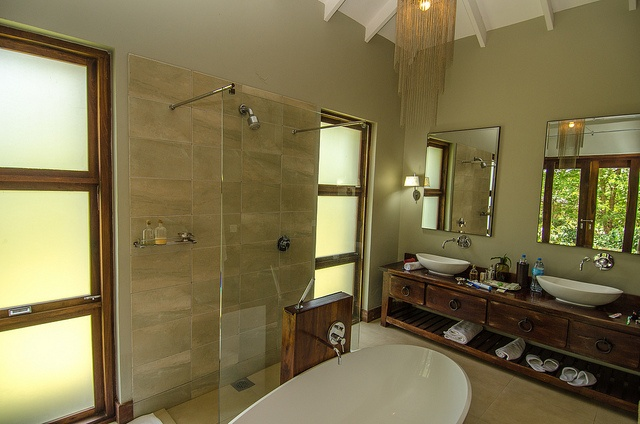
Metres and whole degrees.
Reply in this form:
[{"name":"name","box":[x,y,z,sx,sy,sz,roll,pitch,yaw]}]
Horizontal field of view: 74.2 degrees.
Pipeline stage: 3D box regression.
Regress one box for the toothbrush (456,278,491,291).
[{"name":"toothbrush","box":[1.751,0.807,4.928,0.114,0.104,0.426,3,6,-32]}]

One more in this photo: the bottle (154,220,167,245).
[{"name":"bottle","box":[-1.486,0.180,3.951,0.114,0.220,0.125,0,5,0]}]

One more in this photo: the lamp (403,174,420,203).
[{"name":"lamp","box":[1.238,-0.332,5.811,0.275,0.385,0.155,4,7,41]}]

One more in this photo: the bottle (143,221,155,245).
[{"name":"bottle","box":[-1.585,0.182,3.907,0.099,0.214,0.083,-2,5,-22]}]

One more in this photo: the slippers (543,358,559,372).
[{"name":"slippers","box":[2.451,1.620,4.507,0.108,0.025,0.141,-34,22,-19]}]

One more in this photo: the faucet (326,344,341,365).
[{"name":"faucet","box":[0.136,1.320,3.951,0.124,0.198,0.127,0,5,8]}]

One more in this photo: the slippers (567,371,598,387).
[{"name":"slippers","box":[2.676,1.708,4.328,0.238,0.085,0.136,-12,13,-9]}]

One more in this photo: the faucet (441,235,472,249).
[{"name":"faucet","box":[1.783,0.367,5.448,0.286,0.118,0.178,-6,8,16]}]

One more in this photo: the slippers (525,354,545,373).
[{"name":"slippers","box":[2.310,1.616,4.556,0.154,0.103,0.230,0,4,6]}]

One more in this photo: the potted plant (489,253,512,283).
[{"name":"potted plant","box":[2.176,0.652,5.091,0.342,0.333,0.267,1,-2,-41]}]
